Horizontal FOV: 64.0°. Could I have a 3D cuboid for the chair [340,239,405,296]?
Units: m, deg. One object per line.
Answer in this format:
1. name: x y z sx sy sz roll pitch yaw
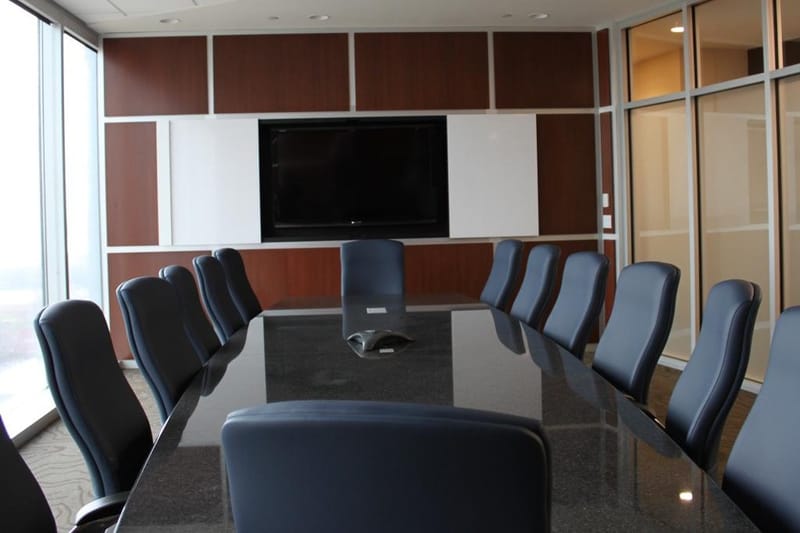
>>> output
1. chair: -0.280 0.001 6.975 0.508 0.776 0.613 0 -1 -2
